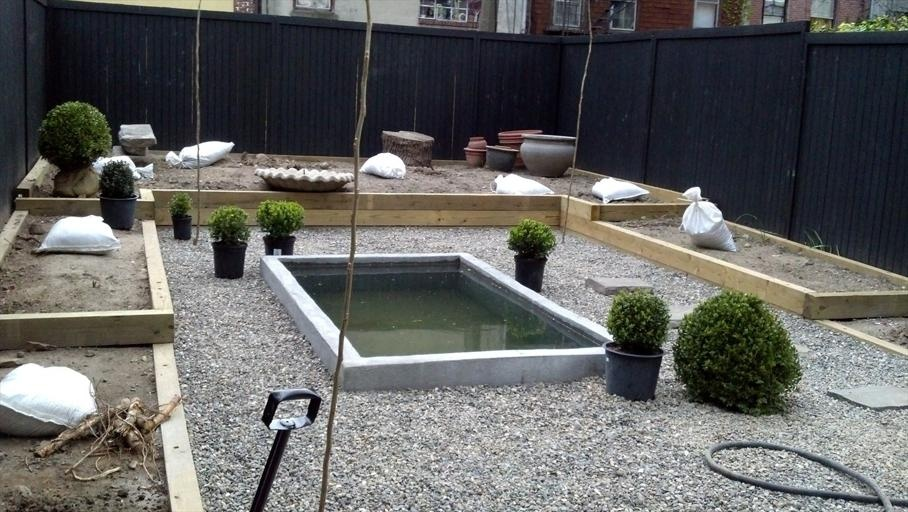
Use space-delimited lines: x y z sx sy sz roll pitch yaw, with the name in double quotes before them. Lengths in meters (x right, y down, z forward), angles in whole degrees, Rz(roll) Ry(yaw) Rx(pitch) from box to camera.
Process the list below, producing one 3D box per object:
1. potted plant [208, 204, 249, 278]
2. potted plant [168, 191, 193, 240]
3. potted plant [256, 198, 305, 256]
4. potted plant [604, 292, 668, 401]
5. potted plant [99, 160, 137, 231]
"potted plant" -2.693 -0.152 8.869 0.437 0.808 0.414 -5 22 -17
"potted plant" -3.719 -0.541 10.032 0.246 0.641 0.256 -7 22 -21
"potted plant" -2.242 -0.395 9.660 0.684 0.758 0.724 3 14 6
"potted plant" 1.690 0.831 6.896 0.538 0.977 0.404 6 21 12
"potted plant" -4.353 -0.757 9.535 0.439 0.852 0.341 -8 23 -23
